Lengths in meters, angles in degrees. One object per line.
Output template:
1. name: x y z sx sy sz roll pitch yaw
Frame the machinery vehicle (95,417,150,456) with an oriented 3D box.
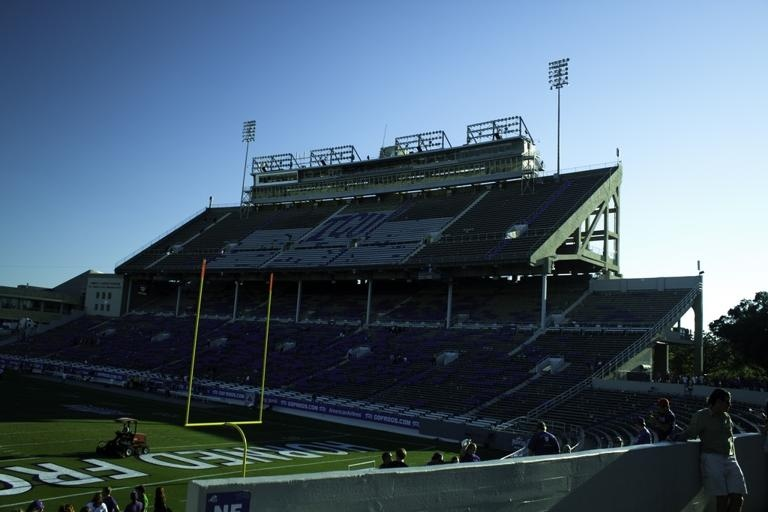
1. machinery vehicle: -9.468 6.635 27.238 1.398 0.994 1.698 2 -8 32

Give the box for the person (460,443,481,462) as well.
1. person: 2.012 4.606 17.563 0.339 0.421 0.754 -2 -13 0

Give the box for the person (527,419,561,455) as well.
1. person: 3.672 4.232 17.353 0.662 0.688 0.696 -3 -14 3
